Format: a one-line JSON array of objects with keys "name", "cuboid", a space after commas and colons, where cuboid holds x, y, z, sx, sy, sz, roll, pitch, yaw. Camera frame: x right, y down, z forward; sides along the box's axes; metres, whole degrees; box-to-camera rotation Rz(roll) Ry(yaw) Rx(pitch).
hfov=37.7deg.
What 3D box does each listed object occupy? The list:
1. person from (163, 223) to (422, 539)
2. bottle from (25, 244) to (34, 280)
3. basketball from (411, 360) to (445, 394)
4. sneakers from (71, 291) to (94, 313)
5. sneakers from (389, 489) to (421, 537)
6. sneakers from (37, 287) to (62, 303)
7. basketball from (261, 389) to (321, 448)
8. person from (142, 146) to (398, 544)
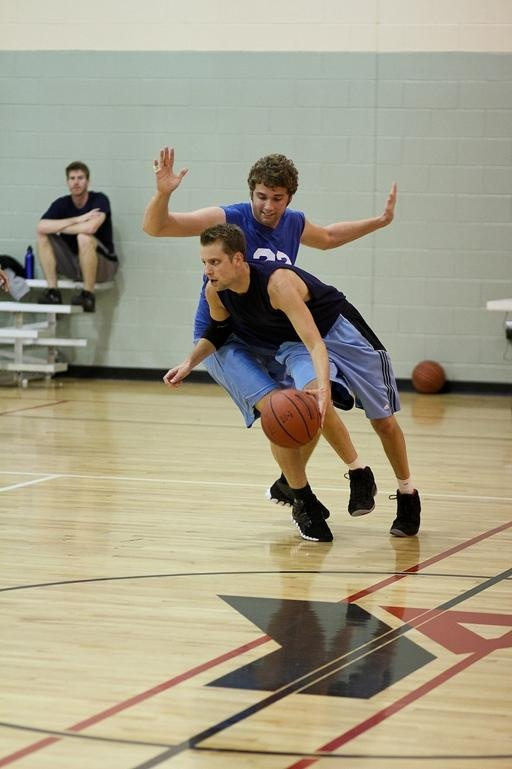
[{"name": "person", "cuboid": [0.113, 0.013, 2.426, 0.847, 1.011, 0.500, 0, 4, 7]}, {"name": "bottle", "cuboid": [-2.167, -1.165, 7.176, 0.098, 0.313, 0.209, -1, 4, -17]}, {"name": "basketball", "cuboid": [1.518, -0.068, 6.608, 0.310, 0.311, 0.287, 2, 3, 4]}, {"name": "sneakers", "cuboid": [-1.532, -0.761, 6.815, 0.247, 0.152, 0.126, 19, 10, 13]}, {"name": "sneakers", "cuboid": [0.518, 0.448, 2.594, 0.117, 0.179, 0.284, -4, -11, 16]}, {"name": "sneakers", "cuboid": [-1.859, -0.795, 6.773, 0.189, 0.159, 0.228, -1, 3, -17]}, {"name": "basketball", "cuboid": [0.103, 0.098, 2.290, 0.184, 0.168, 0.181, -7, -8, -9]}, {"name": "person", "cuboid": [0.140, -0.176, 2.666, 0.886, 1.276, 0.740, -8, 16, -27]}]
